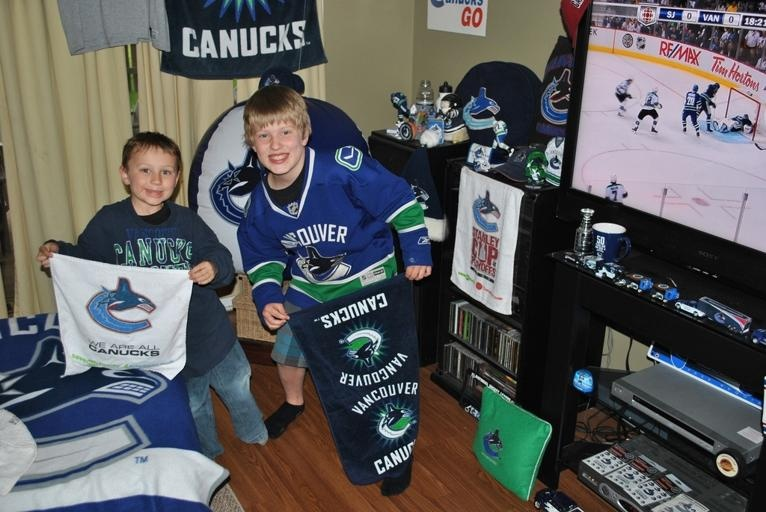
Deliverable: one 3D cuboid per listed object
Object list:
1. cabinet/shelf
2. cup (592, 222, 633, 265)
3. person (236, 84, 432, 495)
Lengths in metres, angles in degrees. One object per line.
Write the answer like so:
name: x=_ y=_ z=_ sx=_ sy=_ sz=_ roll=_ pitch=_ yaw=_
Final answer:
cabinet/shelf: x=0.895 y=0.325 z=2.598 sx=0.512 sy=1.333 sz=1.519 roll=-12 pitch=25 yaw=-30
cup: x=1.035 y=-0.082 z=2.553 sx=0.129 sy=0.153 sz=0.200 roll=-14 pitch=31 yaw=-9
person: x=-0.271 y=0.156 z=2.820 sx=0.900 sy=2.065 sz=0.664 roll=-4 pitch=17 yaw=0
